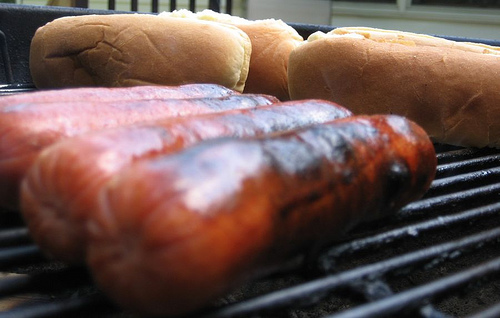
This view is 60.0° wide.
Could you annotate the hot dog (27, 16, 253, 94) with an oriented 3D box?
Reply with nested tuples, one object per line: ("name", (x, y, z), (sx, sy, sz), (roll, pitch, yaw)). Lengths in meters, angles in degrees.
("hot dog", (-0.274, -0.251, 1.054), (0.542, 0.185, 0.230), (4, 25, 3))
